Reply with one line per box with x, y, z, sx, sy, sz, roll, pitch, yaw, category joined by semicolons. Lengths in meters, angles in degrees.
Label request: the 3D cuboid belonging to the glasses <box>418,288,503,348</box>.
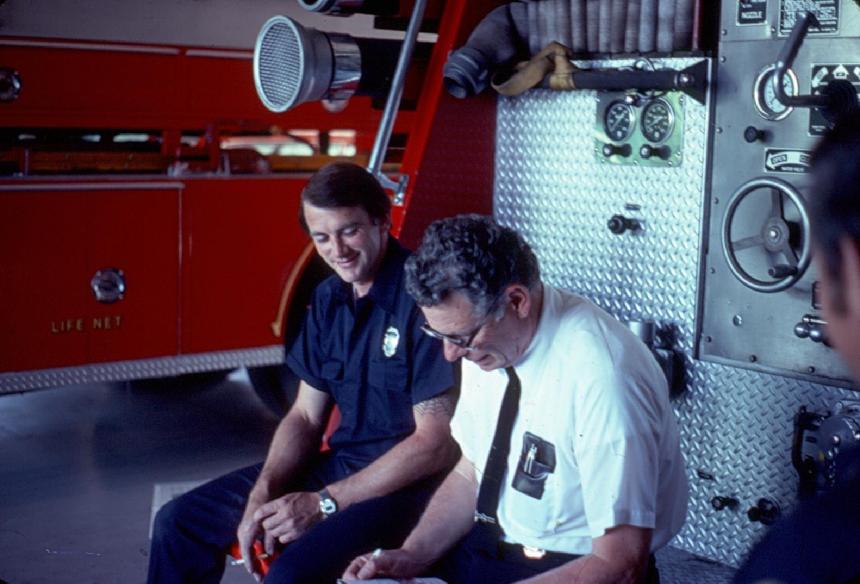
0.101;0.125;2.522;0.195;0.051;0.180;-49;32;-18;glasses

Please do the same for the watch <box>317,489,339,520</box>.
-0.391;0.821;2.976;0.065;0.111;0.102;-15;-19;4;watch
